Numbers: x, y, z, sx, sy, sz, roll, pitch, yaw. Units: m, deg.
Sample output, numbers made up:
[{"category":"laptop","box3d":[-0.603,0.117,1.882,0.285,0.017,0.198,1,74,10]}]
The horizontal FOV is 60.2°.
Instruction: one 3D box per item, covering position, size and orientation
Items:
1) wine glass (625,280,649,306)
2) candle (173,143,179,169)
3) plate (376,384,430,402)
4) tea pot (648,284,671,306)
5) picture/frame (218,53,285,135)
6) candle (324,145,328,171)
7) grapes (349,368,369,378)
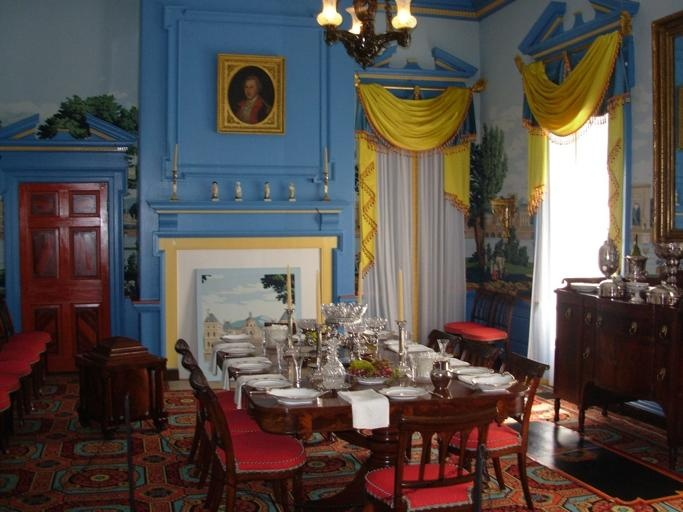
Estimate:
[{"category":"wine glass","box3d":[2.691,0.329,5.386,0.231,0.234,0.211,0,-1,-14]},{"category":"candle","box3d":[-1.980,-1.185,7.047,0.050,0.314,0.096,1,2,1]},{"category":"plate","box3d":[0.410,0.874,3.820,0.326,0.048,0.267,1,1,-12]},{"category":"tea pot","box3d":[2.740,0.331,5.076,0.156,0.108,0.157,-2,7,0]},{"category":"picture/frame","box3d":[-1.129,-1.990,7.165,1.000,1.086,0.114,0,0,-14]},{"category":"candle","box3d":[-0.187,-1.229,7.385,0.052,0.302,0.086,2,2,31]},{"category":"grapes","box3d":[0.120,0.788,3.991,0.091,0.055,0.032,3,-30,30]}]
